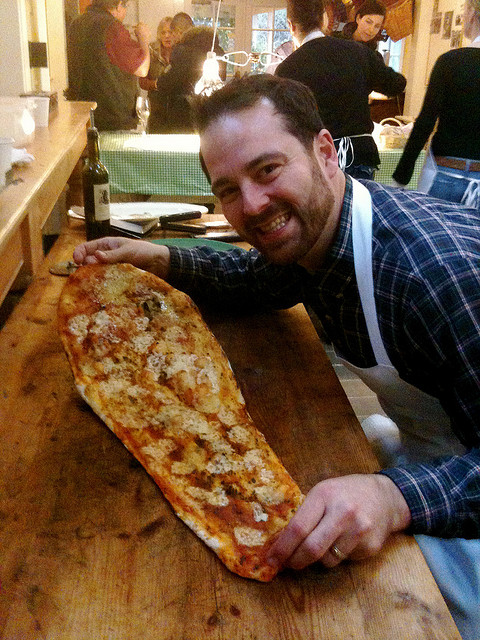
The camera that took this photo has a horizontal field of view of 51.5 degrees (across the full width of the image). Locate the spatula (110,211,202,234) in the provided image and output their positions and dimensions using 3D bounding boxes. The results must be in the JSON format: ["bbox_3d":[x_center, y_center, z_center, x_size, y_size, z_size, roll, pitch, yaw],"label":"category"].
[{"bbox_3d":[-0.253,-0.361,1.919,0.092,0.102,0.614,-3,9,26],"label":"spatula"}]

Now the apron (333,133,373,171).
[{"bbox_3d":[0.569,-0.878,2.625,0.108,0.189,0.294,21,32,30],"label":"apron"}]

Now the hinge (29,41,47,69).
[{"bbox_3d":[-1.297,-1.725,3.258,0.092,0.138,0.227,5,27,1],"label":"hinge"}]
